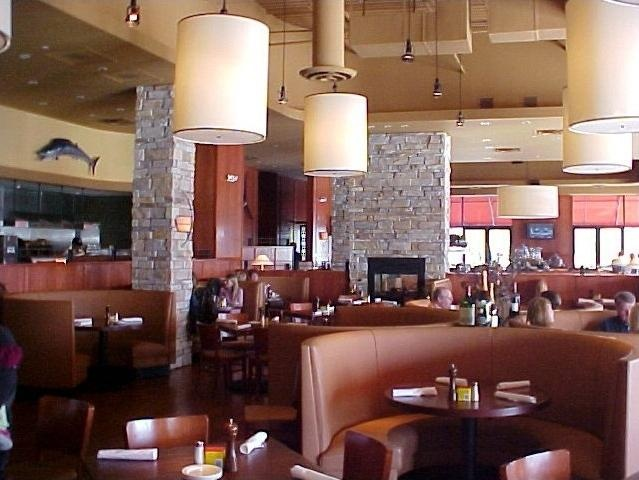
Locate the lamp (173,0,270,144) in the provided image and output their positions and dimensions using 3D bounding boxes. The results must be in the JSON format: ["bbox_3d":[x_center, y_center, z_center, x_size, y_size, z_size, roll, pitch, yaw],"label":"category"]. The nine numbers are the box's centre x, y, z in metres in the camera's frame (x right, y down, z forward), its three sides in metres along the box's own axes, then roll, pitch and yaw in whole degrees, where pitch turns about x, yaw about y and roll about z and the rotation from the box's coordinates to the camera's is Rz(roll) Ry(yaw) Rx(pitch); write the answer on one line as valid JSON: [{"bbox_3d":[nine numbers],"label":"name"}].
[{"bbox_3d":[-0.775,-1.320,5.040,0.780,1.090,0.444,-3,4,-9],"label":"lamp"}]

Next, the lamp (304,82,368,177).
[{"bbox_3d":[0.160,-1.098,6.489,0.774,0.837,0.767,0,-5,2],"label":"lamp"}]

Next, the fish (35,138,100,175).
[{"bbox_3d":[-5.350,-1.787,13.708,0.336,0.723,1.633,-1,5,16],"label":"fish"}]

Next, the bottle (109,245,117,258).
[{"bbox_3d":[-3.695,0.205,11.604,0.064,0.236,1.033,-4,5,-15],"label":"bottle"}]

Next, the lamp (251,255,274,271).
[{"bbox_3d":[-1.292,0.508,14.724,0.488,0.346,0.478,4,-6,-37],"label":"lamp"}]

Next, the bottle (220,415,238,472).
[{"bbox_3d":[-0.541,1.225,3.922,0.088,0.260,0.356,-3,4,-8],"label":"bottle"}]

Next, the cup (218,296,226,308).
[{"bbox_3d":[-1.423,0.917,9.498,0.136,0.249,0.135,-1,2,0],"label":"cup"}]
